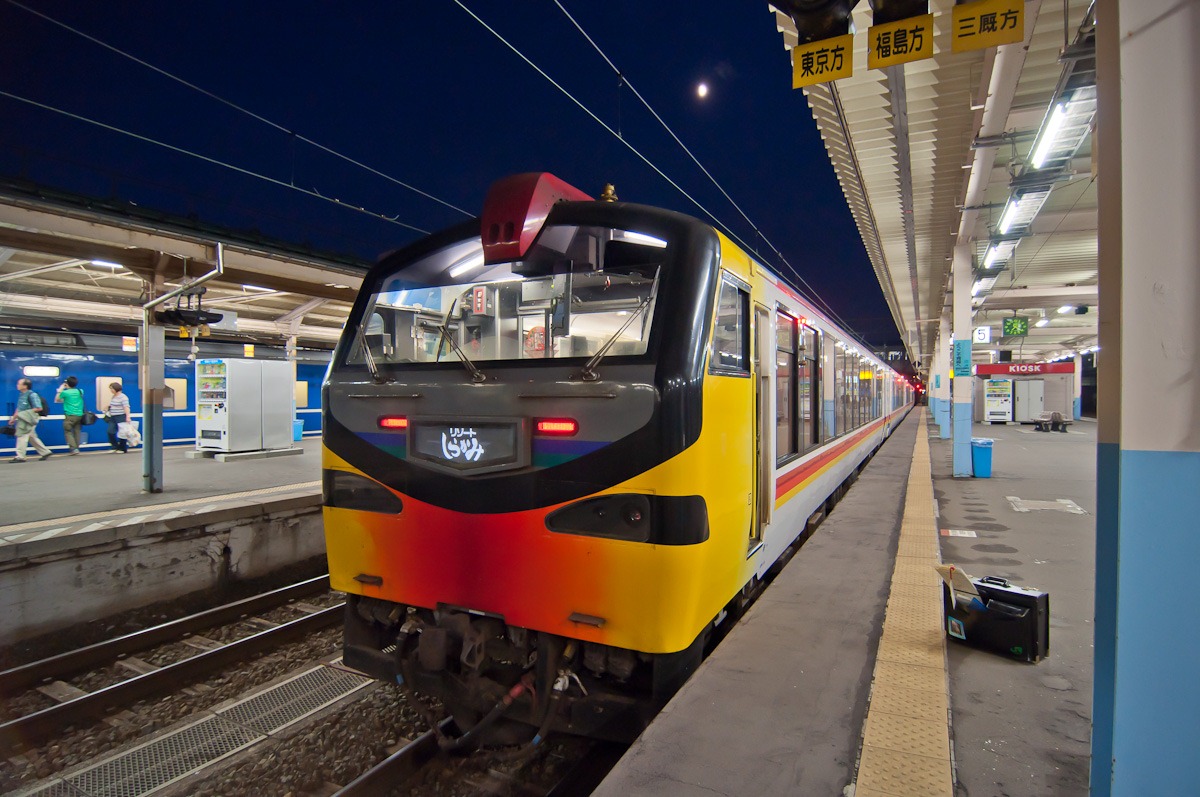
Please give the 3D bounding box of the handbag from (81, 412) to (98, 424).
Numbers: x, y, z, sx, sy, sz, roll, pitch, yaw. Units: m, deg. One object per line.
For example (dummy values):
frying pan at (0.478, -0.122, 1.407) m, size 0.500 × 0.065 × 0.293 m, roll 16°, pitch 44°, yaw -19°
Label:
handbag at (-11.443, 0.505, 16.011) m, size 0.220 × 0.062 × 0.236 m, roll 15°, pitch 6°, yaw -3°

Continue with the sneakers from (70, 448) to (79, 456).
sneakers at (-11.594, 1.261, 15.797) m, size 0.274 × 0.194 × 0.096 m, roll -6°, pitch -5°, yaw 33°

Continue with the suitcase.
suitcase at (3.382, 1.983, 6.168) m, size 0.684 × 0.570 × 0.235 m, roll 4°, pitch 10°, yaw 41°

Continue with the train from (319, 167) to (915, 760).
train at (-0.592, 0.362, 5.376) m, size 2.946 × 4.049 × 1.613 m, roll 1°, pitch 10°, yaw 23°

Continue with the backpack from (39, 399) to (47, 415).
backpack at (-11.647, 0.252, 14.900) m, size 0.104 × 0.381 × 0.588 m, roll -9°, pitch 11°, yaw -34°
